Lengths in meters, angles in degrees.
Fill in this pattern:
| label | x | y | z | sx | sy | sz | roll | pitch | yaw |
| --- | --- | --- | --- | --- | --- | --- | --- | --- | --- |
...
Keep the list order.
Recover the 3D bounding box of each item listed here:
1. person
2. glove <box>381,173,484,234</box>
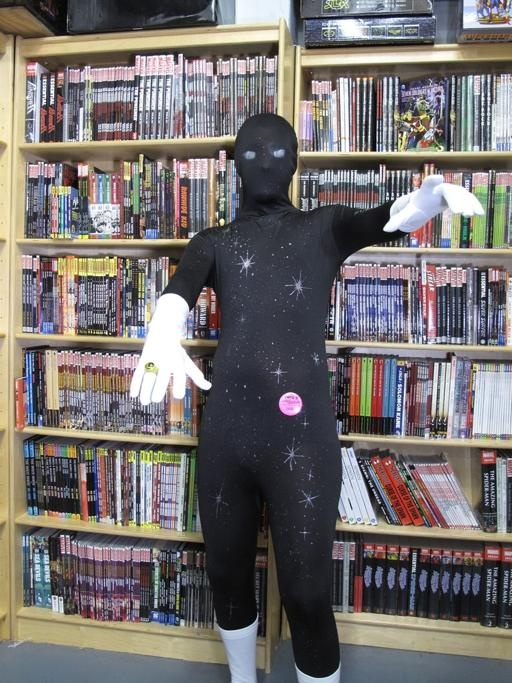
| label | x | y | z | sx | sy | sz | roll | pitch | yaw |
| --- | --- | --- | --- | --- | --- | --- | --- | --- | --- |
| person | 0.095 | 0.173 | 2.109 | 0.732 | 1.552 | 0.459 | -1 | 8 | 12 |
| glove | 0.409 | -0.318 | 1.856 | 0.221 | 0.127 | 0.154 | -1 | 8 | 15 |
